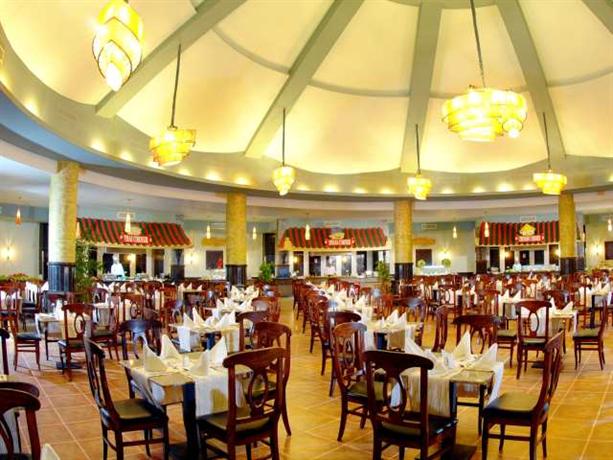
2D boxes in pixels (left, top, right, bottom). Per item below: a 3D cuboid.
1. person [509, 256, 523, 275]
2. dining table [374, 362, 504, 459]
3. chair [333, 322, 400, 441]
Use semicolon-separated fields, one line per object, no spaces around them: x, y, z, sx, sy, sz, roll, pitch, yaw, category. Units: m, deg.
10.303;1.736;23.208;0.304;0.956;0.435;20;-24;-41;person
1.422;1.647;4.734;0.940;0.937;0.976;0;3;25;dining table
0.672;1.670;5.197;0.739;1.180;0.792;-1;-3;-14;chair
